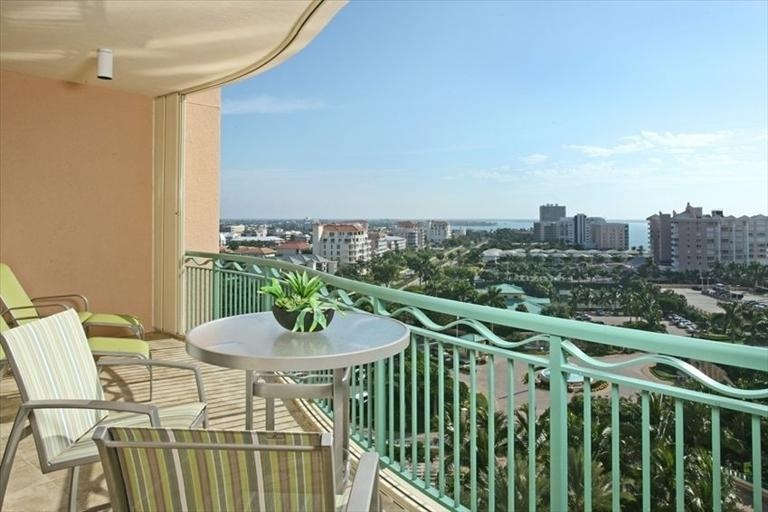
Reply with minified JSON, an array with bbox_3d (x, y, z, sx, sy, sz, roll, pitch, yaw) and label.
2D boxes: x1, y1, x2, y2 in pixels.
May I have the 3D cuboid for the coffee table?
[{"bbox_3d":[-0.489,0.932,3.422,1.151,0.738,1.116,-5,-17,26],"label":"coffee table"}]

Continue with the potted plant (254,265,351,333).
[{"bbox_3d":[-0.522,0.259,3.601,0.471,0.278,0.458,4,-5,-43],"label":"potted plant"}]

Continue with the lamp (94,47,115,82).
[{"bbox_3d":[-2.536,-1.758,5.346,0.130,0.292,0.255,-1,-9,-22],"label":"lamp"}]
